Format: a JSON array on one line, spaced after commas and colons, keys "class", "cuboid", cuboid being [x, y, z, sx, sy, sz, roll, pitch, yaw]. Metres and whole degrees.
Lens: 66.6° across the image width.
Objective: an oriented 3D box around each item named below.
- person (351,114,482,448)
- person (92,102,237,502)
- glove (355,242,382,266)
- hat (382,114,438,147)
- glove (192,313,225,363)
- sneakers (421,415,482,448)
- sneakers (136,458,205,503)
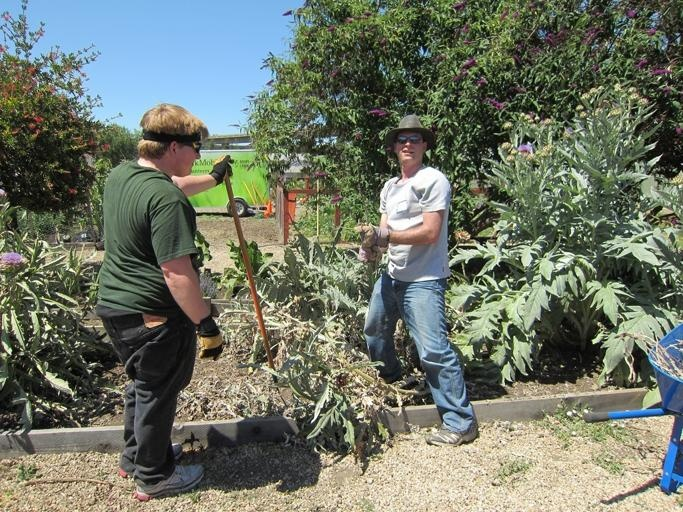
[{"class": "person", "cuboid": [0.561, 0.174, 4.187, 0.855, 2.597, 0.622, -1, 6, 45]}, {"class": "person", "cuboid": [-1.239, 0.343, 3.531, 0.826, 1.997, 0.441, -7, 4, -13]}, {"class": "glove", "cuboid": [0.230, -0.016, 4.355, 0.137, 0.171, 0.184, 4, 25, 14]}, {"class": "hat", "cuboid": [0.564, -1.066, 4.265, 0.359, 0.169, 0.397, 0, 6, -11]}, {"class": "glove", "cuboid": [-0.933, 0.575, 3.558, 0.111, 0.329, 0.236, -1, 13, -4]}, {"class": "sneakers", "cuboid": [0.865, 1.389, 4.105, 0.436, 0.214, 0.164, 0, -2, -6]}, {"class": "sneakers", "cuboid": [-1.205, 1.576, 3.769, 0.497, 0.235, 0.187, -8, 16, -29]}]
